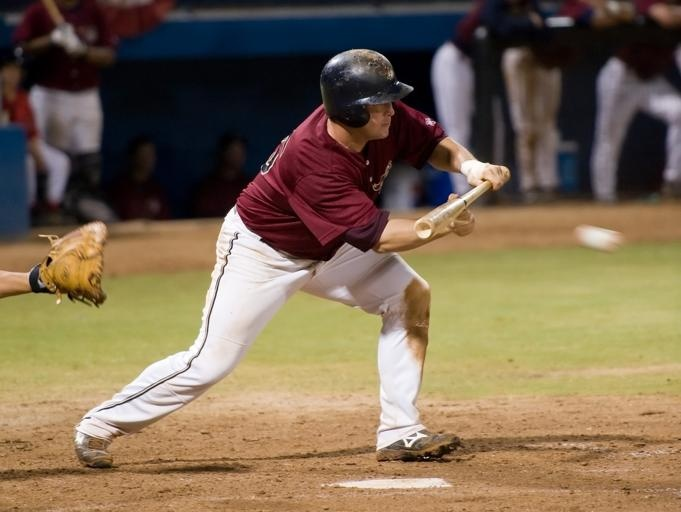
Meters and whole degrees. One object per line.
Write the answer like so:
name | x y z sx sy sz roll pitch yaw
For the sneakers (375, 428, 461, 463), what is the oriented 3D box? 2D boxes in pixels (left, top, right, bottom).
sneakers | 0.315 0.788 4.548 0.388 0.142 0.120 -13 -2 8

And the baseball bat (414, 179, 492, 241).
baseball bat | 0.507 -0.211 4.463 0.119 0.081 0.646 12 29 37

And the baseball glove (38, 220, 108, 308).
baseball glove | -1.206 0.090 4.672 0.184 0.217 0.360 16 -24 -35

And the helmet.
helmet | 0.098 -0.672 4.361 0.451 0.250 0.284 3 20 14

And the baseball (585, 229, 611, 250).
baseball | 1.619 -0.106 6.798 0.136 0.139 0.227 1 4 20

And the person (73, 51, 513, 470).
person | -0.118 0.006 4.565 1.603 1.708 0.571 0 5 8
